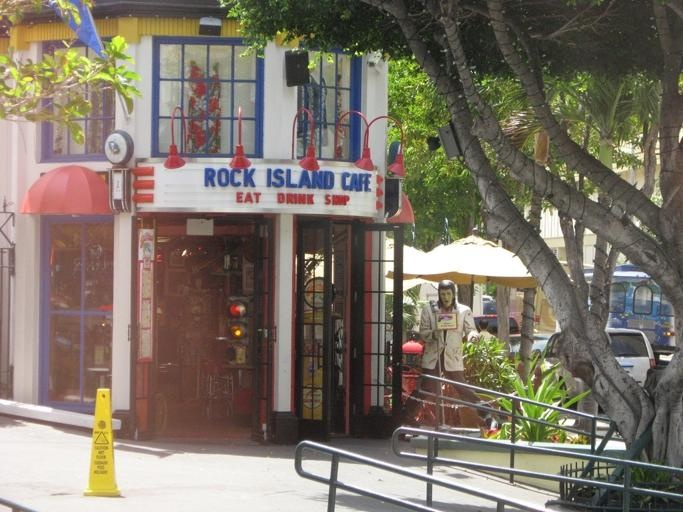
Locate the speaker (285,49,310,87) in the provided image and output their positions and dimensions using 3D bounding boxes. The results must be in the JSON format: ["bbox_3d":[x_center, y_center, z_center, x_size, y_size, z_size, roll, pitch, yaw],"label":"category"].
[{"bbox_3d":[-0.645,-2.793,22.036,0.361,0.528,0.302,3,-10,5],"label":"speaker"}]

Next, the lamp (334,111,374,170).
[{"bbox_3d":[0.275,-1.767,22.412,0.615,1.049,0.787,5,-10,-6],"label":"lamp"}]

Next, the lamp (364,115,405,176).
[{"bbox_3d":[0.639,-1.710,22.645,0.791,0.935,0.345,7,-17,4],"label":"lamp"}]

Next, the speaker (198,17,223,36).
[{"bbox_3d":[-1.921,-3.394,22.002,0.432,0.238,0.308,4,-12,-9],"label":"speaker"}]

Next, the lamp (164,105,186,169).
[{"bbox_3d":[-2.423,-1.764,21.996,0.304,1.037,0.697,5,-10,-6],"label":"lamp"}]

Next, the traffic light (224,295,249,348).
[{"bbox_3d":[-1.612,0.992,23.438,0.322,0.833,0.250,0,23,-3],"label":"traffic light"}]

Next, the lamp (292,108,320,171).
[{"bbox_3d":[-0.513,-1.749,22.106,0.440,1.071,0.838,4,-10,-2],"label":"lamp"}]
